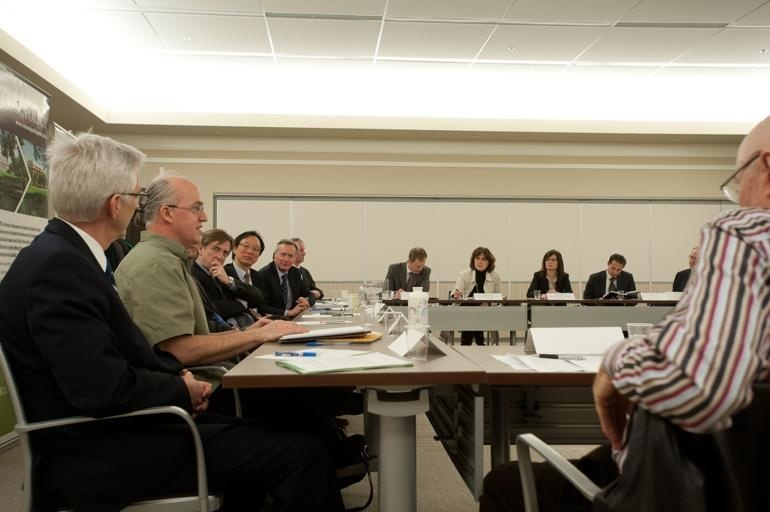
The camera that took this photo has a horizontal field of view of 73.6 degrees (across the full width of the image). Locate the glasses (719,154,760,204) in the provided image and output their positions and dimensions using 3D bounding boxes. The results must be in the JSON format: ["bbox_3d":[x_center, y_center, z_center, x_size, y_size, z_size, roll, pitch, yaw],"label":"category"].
[{"bbox_3d":[1.084,-0.230,1.596,0.038,0.132,0.130,20,11,14],"label":"glasses"}]

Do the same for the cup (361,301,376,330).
[{"bbox_3d":[-0.125,0.436,3.810,0.102,0.162,0.104,-1,-2,0],"label":"cup"}]

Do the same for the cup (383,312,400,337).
[{"bbox_3d":[0.050,0.436,3.081,0.087,0.049,0.221,-9,4,-3],"label":"cup"}]

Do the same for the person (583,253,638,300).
[{"bbox_3d":[3.257,0.313,7.565,0.589,0.881,0.457,1,-17,8],"label":"person"}]

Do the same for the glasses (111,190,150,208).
[{"bbox_3d":[-1.033,-0.231,2.084,0.114,0.034,0.113,1,-9,-11],"label":"glasses"}]
